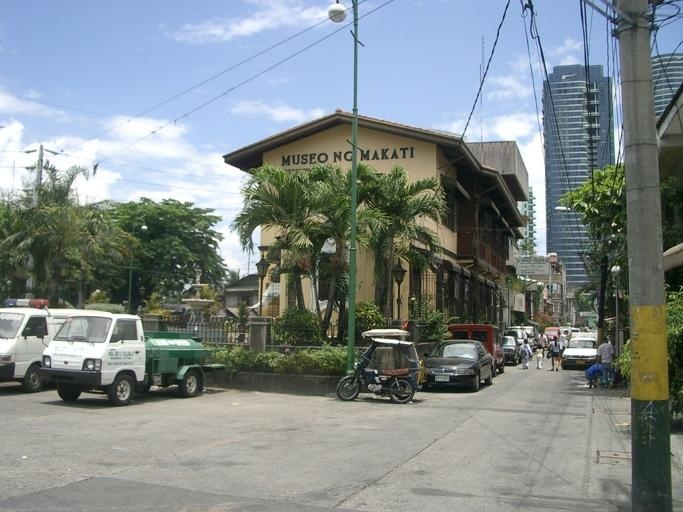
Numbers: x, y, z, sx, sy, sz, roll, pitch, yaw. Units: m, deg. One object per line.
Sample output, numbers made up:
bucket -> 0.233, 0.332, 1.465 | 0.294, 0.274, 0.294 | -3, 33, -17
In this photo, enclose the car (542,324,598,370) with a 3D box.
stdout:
car -> 10.852, 4.303, 35.575 | 2.105, 2.039, 5.610 | -1, -4, 20
